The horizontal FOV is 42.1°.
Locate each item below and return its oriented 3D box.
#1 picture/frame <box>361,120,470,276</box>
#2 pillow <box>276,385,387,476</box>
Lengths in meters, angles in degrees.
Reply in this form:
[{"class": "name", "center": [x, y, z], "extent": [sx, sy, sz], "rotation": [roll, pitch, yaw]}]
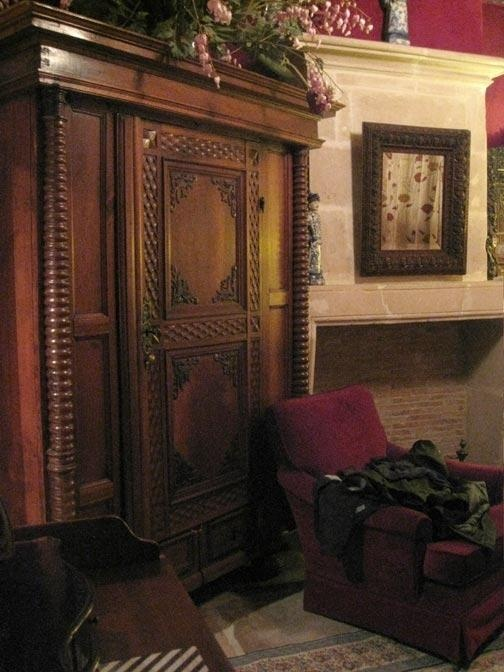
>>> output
[{"class": "picture/frame", "center": [0.813, -0.709, 3.328], "extent": [0.905, 0.952, 0.116], "rotation": [-1, 3, -33]}, {"class": "pillow", "center": [0.306, 0.377, 2.596], "extent": [0.363, 0.336, 0.082], "rotation": [-14, -13, -39]}]
